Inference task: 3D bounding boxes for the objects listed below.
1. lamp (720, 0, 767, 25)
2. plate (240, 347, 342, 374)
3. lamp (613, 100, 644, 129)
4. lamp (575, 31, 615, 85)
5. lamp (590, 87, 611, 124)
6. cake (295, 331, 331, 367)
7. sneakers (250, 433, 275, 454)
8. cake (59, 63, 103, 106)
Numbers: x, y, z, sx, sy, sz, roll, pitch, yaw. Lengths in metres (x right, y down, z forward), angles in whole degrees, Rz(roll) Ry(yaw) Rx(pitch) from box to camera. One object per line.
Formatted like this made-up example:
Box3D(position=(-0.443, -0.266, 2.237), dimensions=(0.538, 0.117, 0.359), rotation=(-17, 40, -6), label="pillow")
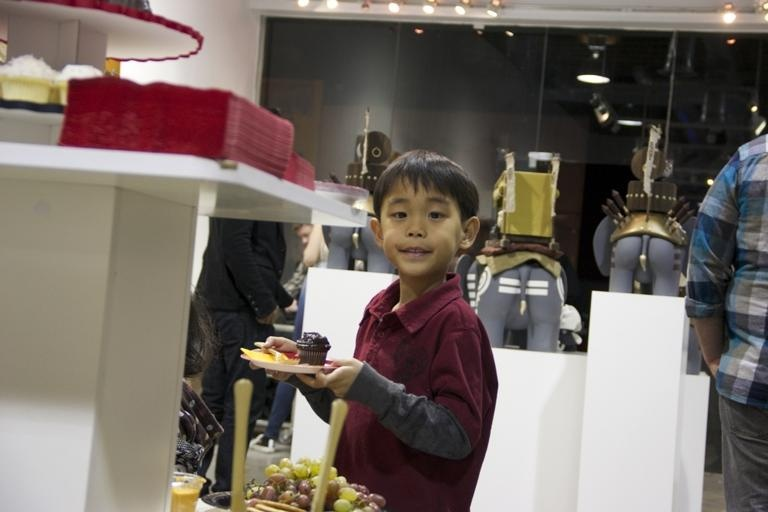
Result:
Box3D(position=(2.381, -1.615, 4.703), dimensions=(0.231, 0.246, 0.071), rotation=(-2, 8, 0), label="lamp")
Box3D(position=(-0.184, 0.224, 1.482), dimensions=(0.199, 0.049, 0.155), rotation=(2, 0, 22), label="plate")
Box3D(position=(1.771, -1.008, 5.097), dimensions=(0.162, 0.127, 0.167), rotation=(-1, 0, 0), label="lamp")
Box3D(position=(1.563, -1.422, 5.335), dimensions=(0.388, 0.401, 0.316), rotation=(2, -2, 3), label="lamp")
Box3D(position=(1.561, -1.061, 5.142), dimensions=(0.069, 0.212, 0.147), rotation=(-11, -25, -46), label="lamp")
Box3D(position=(-0.154, 0.199, 1.526), dimensions=(0.067, 0.073, 0.070), rotation=(3, 3, -14), label="cake")
Box3D(position=(-0.834, 1.291, 4.900), dimensions=(0.121, 0.078, 0.123), rotation=(7, -5, -17), label="sneakers")
Box3D(position=(-0.564, -0.317, 1.318), dimensions=(0.068, 0.072, 0.077), rotation=(2, 0, -21), label="cake")
